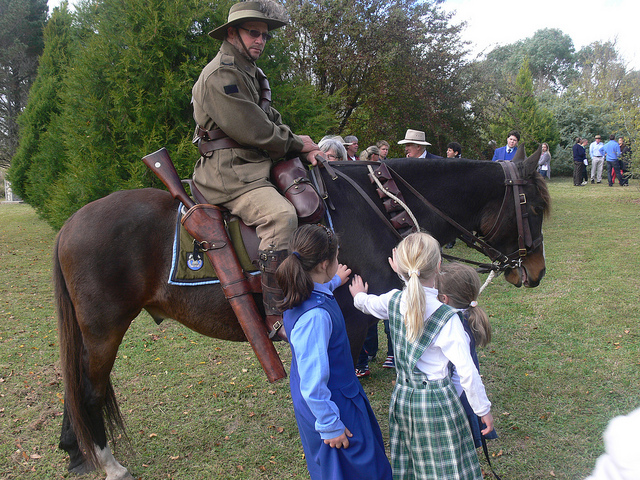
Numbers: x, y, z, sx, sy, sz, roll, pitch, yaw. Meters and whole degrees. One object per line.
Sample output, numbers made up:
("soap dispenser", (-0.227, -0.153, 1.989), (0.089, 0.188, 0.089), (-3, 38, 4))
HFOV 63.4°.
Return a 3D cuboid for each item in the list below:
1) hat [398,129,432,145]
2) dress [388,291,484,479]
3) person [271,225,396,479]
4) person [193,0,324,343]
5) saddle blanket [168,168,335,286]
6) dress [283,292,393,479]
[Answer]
("hat", (1.540, -1.650, 8.349), (0.360, 0.153, 0.324), (1, 7, -35))
("dress", (0.872, 1.145, 3.982), (0.685, 1.390, 0.510), (-1, 13, 9))
("person", (0.102, 0.914, 3.883), (0.596, 1.949, 0.795), (-15, 18, -41))
("person", (-0.595, -0.669, 4.689), (1.057, 2.864, 0.793), (7, 16, 36))
("saddle blanket", (-0.837, 0.197, 5.689), (1.872, 0.630, 2.208), (-21, -3, -28))
("dress", (0.128, 1.103, 3.882), (0.728, 1.393, 0.538), (-5, 13, -6))
